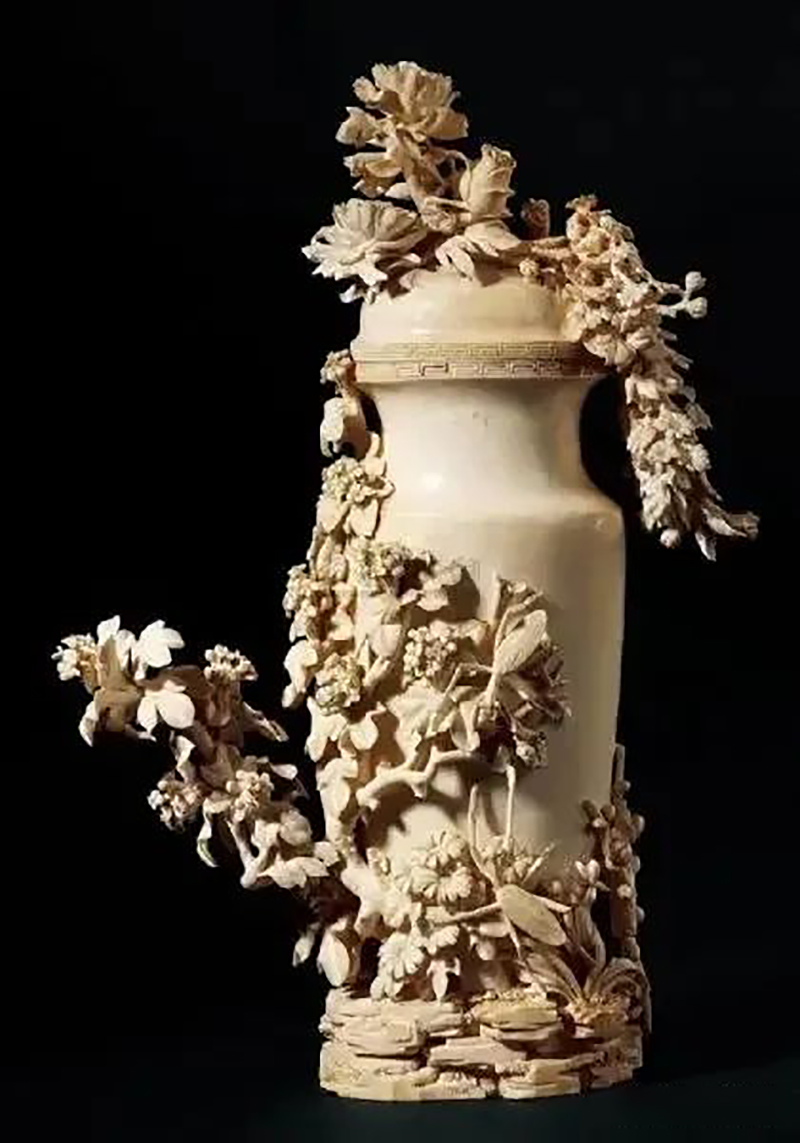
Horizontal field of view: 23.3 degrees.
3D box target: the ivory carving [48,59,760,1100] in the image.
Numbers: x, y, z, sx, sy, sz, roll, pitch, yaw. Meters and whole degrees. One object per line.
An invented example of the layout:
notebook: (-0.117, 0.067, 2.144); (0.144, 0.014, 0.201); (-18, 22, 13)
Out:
ivory carving: (0.122, 0.042, 3.971); (1.157, 1.916, 1.035); (-19, -30, 28)
